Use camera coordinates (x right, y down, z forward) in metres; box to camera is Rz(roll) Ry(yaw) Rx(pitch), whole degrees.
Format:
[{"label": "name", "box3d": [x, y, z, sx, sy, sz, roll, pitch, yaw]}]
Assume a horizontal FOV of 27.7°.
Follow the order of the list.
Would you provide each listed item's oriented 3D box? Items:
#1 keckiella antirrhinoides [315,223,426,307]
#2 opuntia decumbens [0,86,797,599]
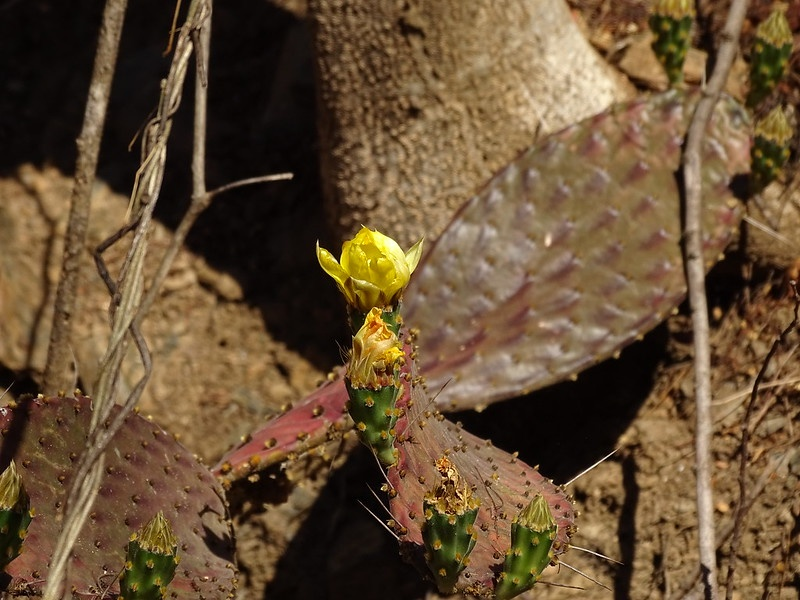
[{"label": "keckiella antirrhinoides", "box3d": [-0.084, -0.045, 3.197, 0.217, 0.152, 0.167, 1, 8, 29]}, {"label": "opuntia decumbens", "box3d": [0.089, 0.090, 3.309, 0.481, 1.730, 0.210, 42, -25, 28]}]
